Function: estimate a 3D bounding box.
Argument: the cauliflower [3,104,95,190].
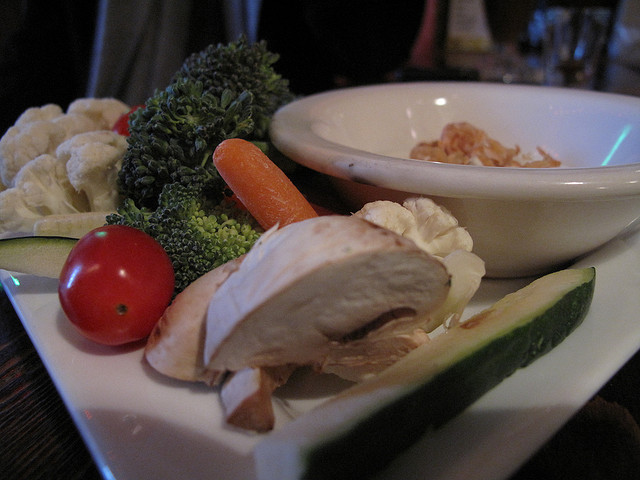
[{"bbox_3d":[-0.606,-0.227,1.122,0.129,0.194,0.235,9,20,29],"label":"cauliflower"}]

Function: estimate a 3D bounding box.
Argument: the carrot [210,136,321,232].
[{"bbox_3d":[-0.094,-0.087,0.859,0.206,0.095,0.069,46,-9,-4],"label":"carrot"}]

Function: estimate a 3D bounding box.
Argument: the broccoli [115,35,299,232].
[{"bbox_3d":[-0.189,-0.196,1.013,0.340,0.271,0.268,44,57,3],"label":"broccoli"}]

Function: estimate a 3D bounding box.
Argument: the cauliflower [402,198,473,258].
[{"bbox_3d":[0.173,-0.017,0.822,0.075,0.090,0.107,11,13,5],"label":"cauliflower"}]

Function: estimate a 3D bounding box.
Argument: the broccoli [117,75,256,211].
[{"bbox_3d":[-0.216,-0.160,0.994,0.221,0.246,0.218,-21,-2,14],"label":"broccoli"}]
